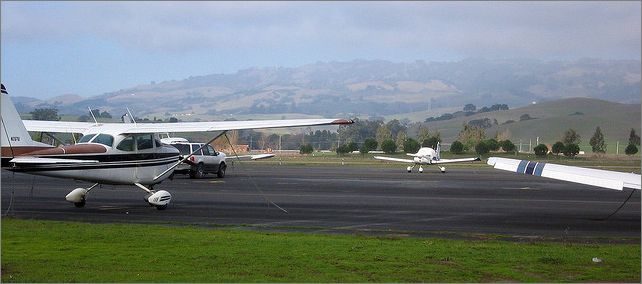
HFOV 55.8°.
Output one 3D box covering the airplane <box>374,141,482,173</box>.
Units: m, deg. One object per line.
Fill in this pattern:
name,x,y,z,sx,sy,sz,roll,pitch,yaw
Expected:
airplane,13.220,2.087,72.972,8.863,2.140,7.149,-1,-4,18
